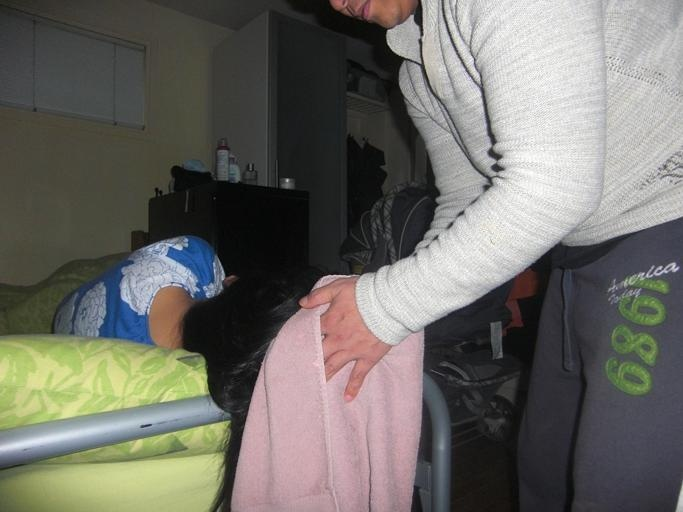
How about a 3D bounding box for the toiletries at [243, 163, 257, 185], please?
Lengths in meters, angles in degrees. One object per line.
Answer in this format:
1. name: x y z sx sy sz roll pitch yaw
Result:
1. toiletries: -0.509 -0.456 2.954 0.080 0.130 0.294 1 0 -10
